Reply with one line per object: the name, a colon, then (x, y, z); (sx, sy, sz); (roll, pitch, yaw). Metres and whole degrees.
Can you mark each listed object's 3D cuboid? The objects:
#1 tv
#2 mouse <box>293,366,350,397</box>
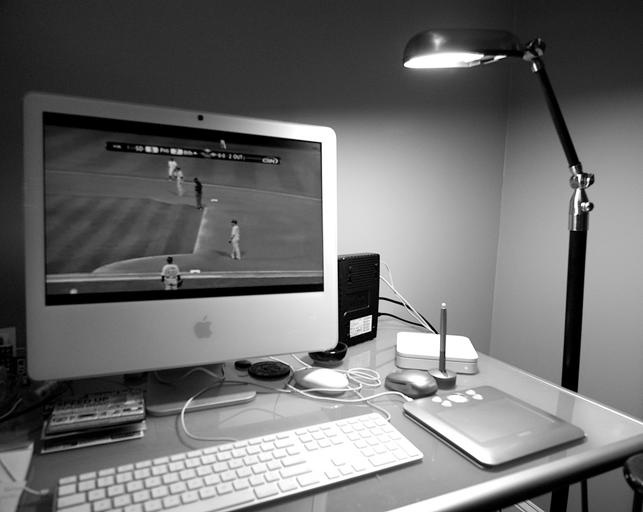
tv: (-0.301, 0.009, 1.047); (0.674, 0.588, 0.064); (0, -1, -26)
mouse: (0.003, 0.280, 1.147); (0.098, 0.031, 0.058); (9, 13, 42)
